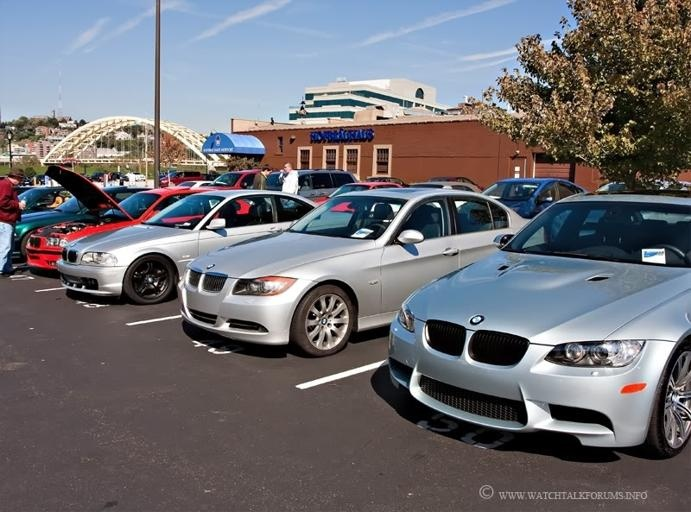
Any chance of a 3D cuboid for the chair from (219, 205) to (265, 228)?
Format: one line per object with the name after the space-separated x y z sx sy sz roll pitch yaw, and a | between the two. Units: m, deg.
-1.799 -0.700 9.250 0.394 0.185 0.647 3 1 43 | chair
